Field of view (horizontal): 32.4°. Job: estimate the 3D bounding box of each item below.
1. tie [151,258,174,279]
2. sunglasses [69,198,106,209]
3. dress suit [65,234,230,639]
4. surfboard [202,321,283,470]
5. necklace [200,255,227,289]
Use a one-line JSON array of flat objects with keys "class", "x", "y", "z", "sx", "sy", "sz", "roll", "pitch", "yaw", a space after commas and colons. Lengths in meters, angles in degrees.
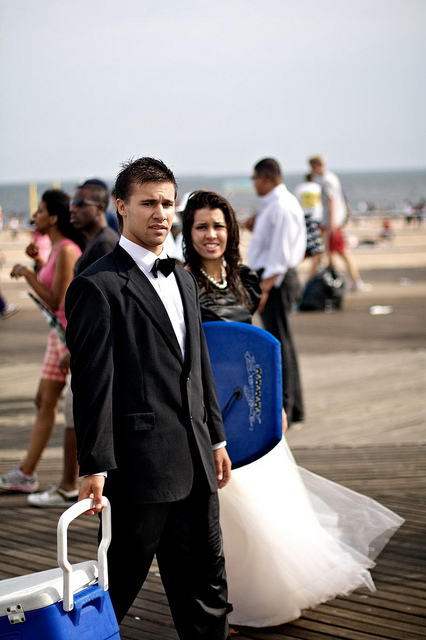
[{"class": "tie", "x": -0.138, "y": -0.136, "z": 1.941, "sx": 0.051, "sy": 0.047, "sz": 0.014, "roll": 1, "pitch": 19, "yaw": -25}, {"class": "sunglasses", "x": -0.679, "y": -0.625, "z": 3.935, "sx": 0.117, "sy": 0.032, "sz": 0.109, "roll": 2, "pitch": -4, "yaw": -26}, {"class": "dress suit", "x": -0.173, "y": 0.344, "z": 1.927, "sx": 0.250, "sy": 1.121, "sz": 0.531, "roll": 8, "pitch": 14, "yaw": 44}, {"class": "surfboard", "x": 0.110, "y": 0.225, "z": 2.373, "sx": 0.271, "sy": 0.464, "sz": 0.271, "roll": 0, "pitch": 16, "yaw": -1}, {"class": "necklace", "x": 0.016, "y": -0.184, "z": 2.787, "sx": 0.087, "sy": 0.125, "sz": 0.027, "roll": 6, "pitch": -23, "yaw": 8}]
